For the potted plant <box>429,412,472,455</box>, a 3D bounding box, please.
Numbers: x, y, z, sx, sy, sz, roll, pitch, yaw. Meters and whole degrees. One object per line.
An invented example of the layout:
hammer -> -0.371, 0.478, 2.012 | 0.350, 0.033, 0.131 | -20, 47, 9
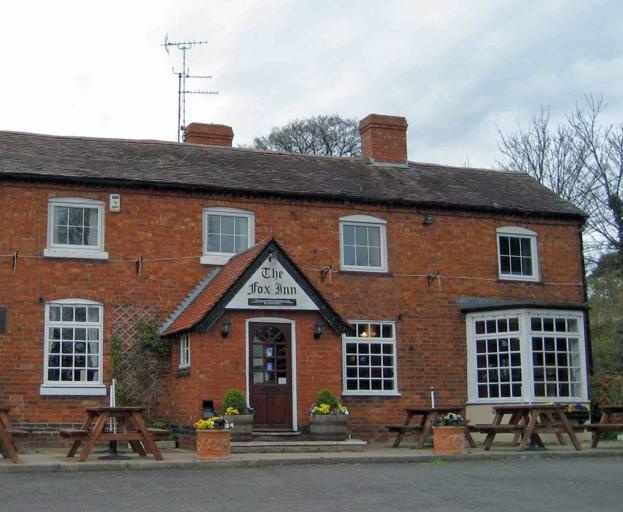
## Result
potted plant -> 3.162, 4.054, 24.246 | 0.741, 0.959, 0.971 | -4, -19, 13

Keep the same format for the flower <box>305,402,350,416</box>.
flower -> 0.451, 3.606, 25.293 | 0.879, 0.326, 0.444 | -3, -10, 0

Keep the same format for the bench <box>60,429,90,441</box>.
bench -> -4.952, 3.744, 22.548 | 0.446, 0.217, 0.671 | 3, -12, -27

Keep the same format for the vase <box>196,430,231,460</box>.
vase -> -2.058, 4.027, 22.826 | 0.585, 0.473, 0.605 | 1, -13, -4

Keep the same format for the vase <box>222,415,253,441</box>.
vase -> -1.628, 3.917, 24.516 | 0.577, 0.592, 0.575 | 2, -7, -16

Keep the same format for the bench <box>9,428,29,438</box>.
bench -> -6.034, 3.640, 22.137 | 0.386, 0.170, 0.975 | 1, -11, -16

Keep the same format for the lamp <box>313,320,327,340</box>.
lamp -> 0.242, 1.771, 25.776 | 0.346, 0.516, 0.384 | 0, 1, -3

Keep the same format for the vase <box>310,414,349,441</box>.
vase -> 0.444, 4.009, 25.132 | 0.868, 0.615, 0.257 | 2, -11, -21

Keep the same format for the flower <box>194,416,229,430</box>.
flower -> -2.089, 3.561, 22.879 | 0.729, 0.285, 0.395 | -2, -10, -5

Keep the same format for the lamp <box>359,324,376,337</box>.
lamp -> 1.578, 1.974, 28.491 | 0.509, 0.345, 0.092 | 4, -12, -29
